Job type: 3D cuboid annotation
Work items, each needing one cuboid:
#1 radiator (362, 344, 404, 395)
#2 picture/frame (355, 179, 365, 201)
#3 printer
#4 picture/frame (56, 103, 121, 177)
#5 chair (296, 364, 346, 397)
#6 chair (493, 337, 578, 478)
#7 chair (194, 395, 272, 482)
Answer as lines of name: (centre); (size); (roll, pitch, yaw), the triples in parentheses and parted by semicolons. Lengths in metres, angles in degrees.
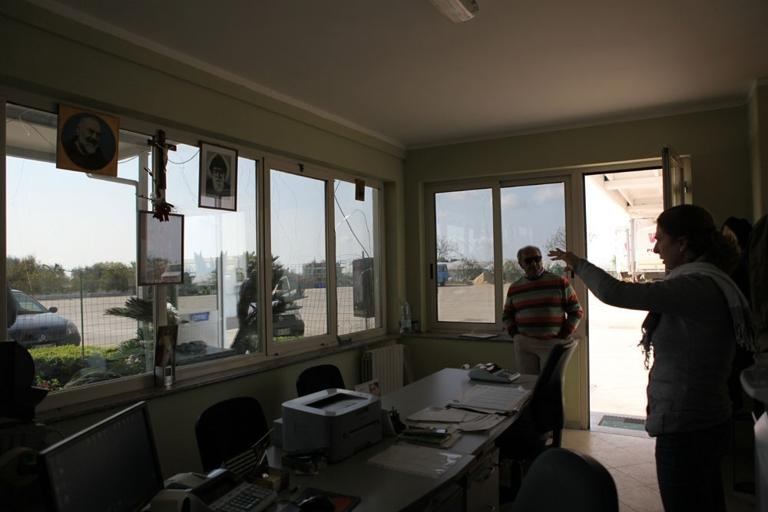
radiator: (-0.037, 1.144, 5.433); (0.089, 0.453, 0.606); (-5, -5, 37)
picture/frame: (-0.290, -0.755, 6.010); (0.039, 0.292, 0.257); (0, 0, 30)
printer: (-0.329, 0.925, 3.090); (0.358, 0.205, 0.425); (-3, -2, 34)
picture/frame: (-2.087, -0.816, 3.720); (0.510, 0.576, 0.074); (4, -4, -38)
chair: (-0.530, 0.985, 4.315); (0.276, 0.390, 0.323); (4, -18, -29)
chair: (1.050, 1.201, 4.116); (0.719, 1.077, 0.704); (-1, -6, 9)
chair: (-1.068, 1.247, 3.671); (0.457, 0.530, 0.461); (-10, -2, -17)
